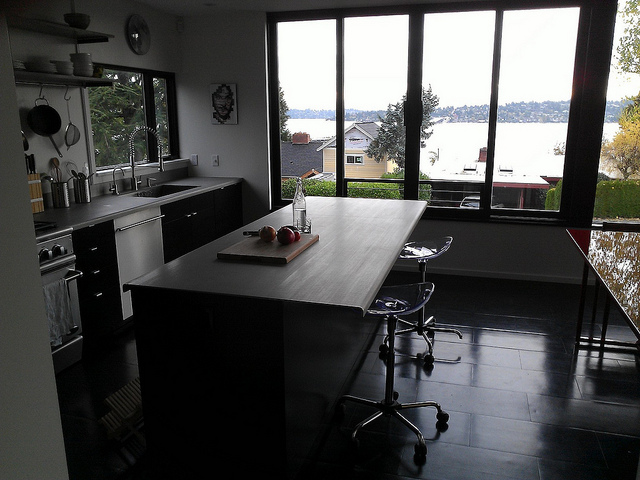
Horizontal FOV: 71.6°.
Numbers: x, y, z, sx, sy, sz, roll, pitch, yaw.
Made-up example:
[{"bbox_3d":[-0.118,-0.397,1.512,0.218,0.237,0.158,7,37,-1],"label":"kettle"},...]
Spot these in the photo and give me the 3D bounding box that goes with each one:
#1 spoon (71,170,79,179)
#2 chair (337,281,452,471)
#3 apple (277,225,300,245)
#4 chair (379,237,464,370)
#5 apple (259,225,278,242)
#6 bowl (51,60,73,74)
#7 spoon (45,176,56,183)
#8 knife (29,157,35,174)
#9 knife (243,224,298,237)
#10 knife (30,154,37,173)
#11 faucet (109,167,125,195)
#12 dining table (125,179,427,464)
[{"bbox_3d":[-2.128,-0.578,3.851,0.050,0.068,0.128,-8,17,-29],"label":"spoon"},{"bbox_3d":[0.406,0.729,2.603,0.608,0.829,0.676,4,5,27],"label":"chair"},{"bbox_3d":[-0.195,-0.031,2.709,0.087,0.075,0.120,3,10,3],"label":"apple"},{"bbox_3d":[0.787,0.425,3.525,0.677,0.901,0.661,-1,12,8],"label":"chair"},{"bbox_3d":[-0.313,-0.038,2.757,0.093,0.106,0.102,13,-20,23],"label":"apple"},{"bbox_3d":[-2.005,-1.346,3.449,0.108,0.073,0.111,2,9,0],"label":"bowl"},{"bbox_3d":[-2.205,-0.499,3.637,0.045,0.023,0.063,20,3,15],"label":"spoon"},{"bbox_3d":[-2.222,-0.578,3.420,0.022,0.139,0.018,-8,4,-20],"label":"knife"},{"bbox_3d":[-0.313,-0.060,2.849,0.455,0.038,0.085,-2,8,-1],"label":"knife"},{"bbox_3d":[-2.226,-0.605,3.452,0.027,0.181,0.024,-10,-4,-31],"label":"knife"},{"bbox_3d":[-2.005,-0.591,4.375,0.121,0.238,0.288,-3,15,-13],"label":"faucet"},{"bbox_3d":[-0.256,0.502,2.625,0.805,0.831,1.648,2,16,11],"label":"dining table"}]
